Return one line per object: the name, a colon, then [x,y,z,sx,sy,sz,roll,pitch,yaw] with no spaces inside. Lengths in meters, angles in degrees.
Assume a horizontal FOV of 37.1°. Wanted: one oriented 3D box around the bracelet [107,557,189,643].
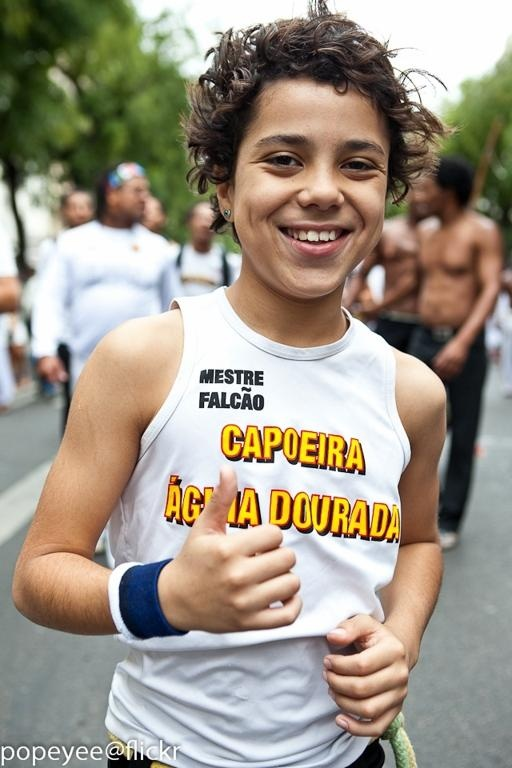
bracelet: [-0.158,0.310,1.080,0.127,0.123,0.062,6,9,44]
